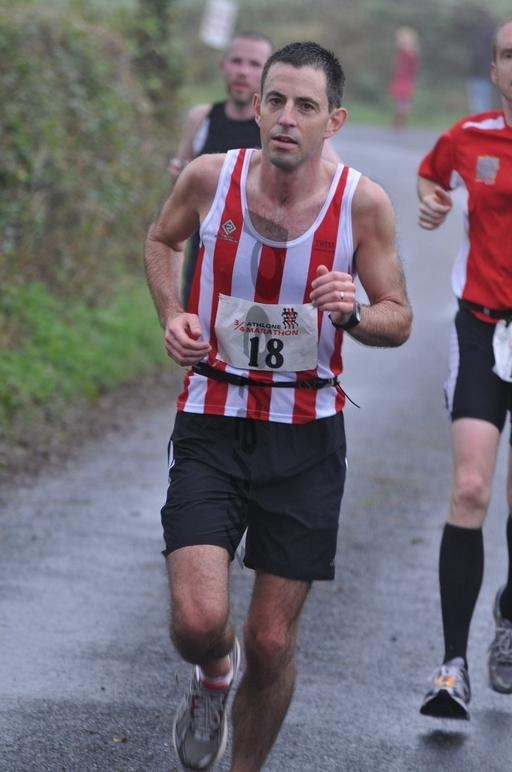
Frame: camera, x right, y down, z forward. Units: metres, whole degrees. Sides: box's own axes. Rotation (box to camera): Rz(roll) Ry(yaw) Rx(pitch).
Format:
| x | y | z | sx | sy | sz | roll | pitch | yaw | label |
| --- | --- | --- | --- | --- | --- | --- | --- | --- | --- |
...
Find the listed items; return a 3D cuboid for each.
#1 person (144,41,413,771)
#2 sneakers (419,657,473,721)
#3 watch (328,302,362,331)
| x | y | z | sx | sy | sz | roll | pitch | yaw | label |
| --- | --- | --- | --- | --- | --- | --- | --- | --- | --- |
| 0.018 | 0.020 | 2.262 | 0.704 | 1.799 | 0.674 | 5 | 8 | 6 | person |
| 0.569 | 0.918 | 2.664 | 0.129 | 0.184 | 0.100 | 3 | 8 | -5 | sneakers |
| 0.228 | -0.172 | 2.190 | 0.081 | 0.082 | 0.056 | -11 | 12 | -27 | watch |
